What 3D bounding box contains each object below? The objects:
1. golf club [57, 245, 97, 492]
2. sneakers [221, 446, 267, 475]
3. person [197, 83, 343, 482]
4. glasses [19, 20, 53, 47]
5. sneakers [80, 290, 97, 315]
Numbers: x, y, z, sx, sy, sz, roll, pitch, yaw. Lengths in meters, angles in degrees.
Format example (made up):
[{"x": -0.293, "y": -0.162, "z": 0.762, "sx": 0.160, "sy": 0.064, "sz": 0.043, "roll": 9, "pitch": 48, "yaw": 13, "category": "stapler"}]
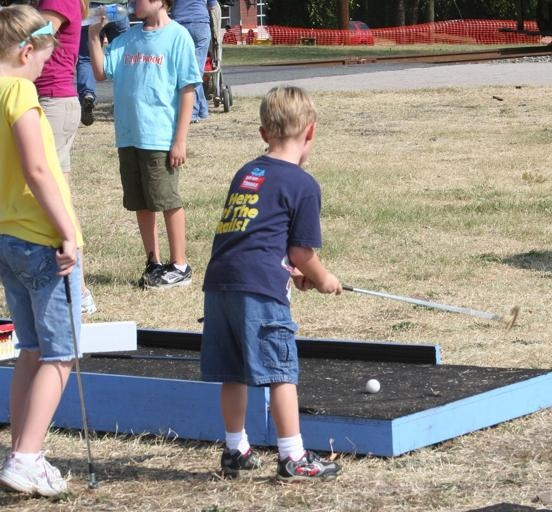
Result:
[{"x": -0.827, "y": 0.519, "z": 5.264, "sx": 0.235, "sy": 0.731, "sz": 0.340, "roll": -6, "pitch": 27, "yaw": -23, "category": "golf club"}, {"x": -0.139, "y": 0.892, "z": 5.387, "sx": 0.075, "sy": 0.091, "sz": 0.213, "roll": 1, "pitch": 1, "yaw": 39, "category": "sneakers"}, {"x": -0.024, "y": 0.112, "z": 5.299, "sx": 0.604, "sy": 1.635, "sz": 0.514, "roll": -1, "pitch": 12, "yaw": -9, "category": "person"}, {"x": -0.997, "y": -0.927, "z": 5.208, "sx": 0.129, "sy": 0.038, "sz": 0.102, "roll": -36, "pitch": 23, "yaw": 0, "category": "glasses"}, {"x": -1.120, "y": 0.273, "z": 7.380, "sx": 0.090, "sy": 0.102, "sz": 0.222, "roll": -2, "pitch": 11, "yaw": -1, "category": "sneakers"}]
